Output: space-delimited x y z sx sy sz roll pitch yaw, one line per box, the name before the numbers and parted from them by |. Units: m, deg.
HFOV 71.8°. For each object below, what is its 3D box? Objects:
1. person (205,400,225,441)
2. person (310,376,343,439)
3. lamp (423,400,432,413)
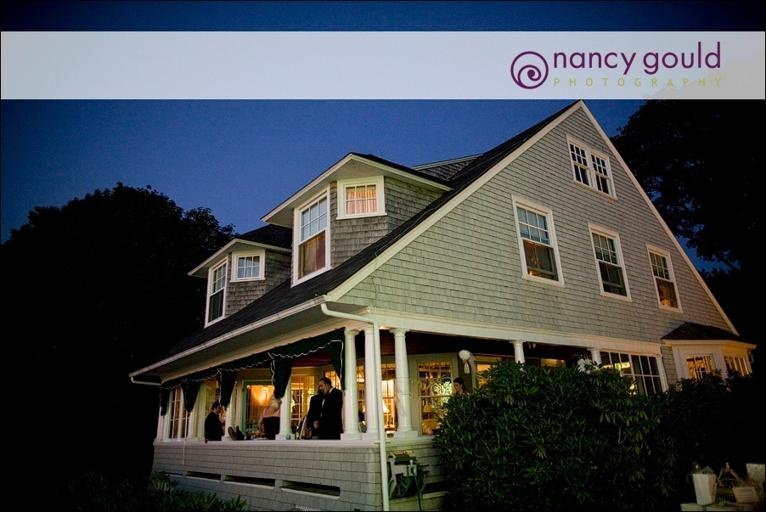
person | -5.586 5.470 17.593 0.552 1.320 1.114 6 -23 -17
person | -1.360 3.940 13.789 0.515 1.633 1.228 7 -23 -20
lamp | 1.375 4.753 16.709 0.353 0.417 0.359 6 -31 -9
